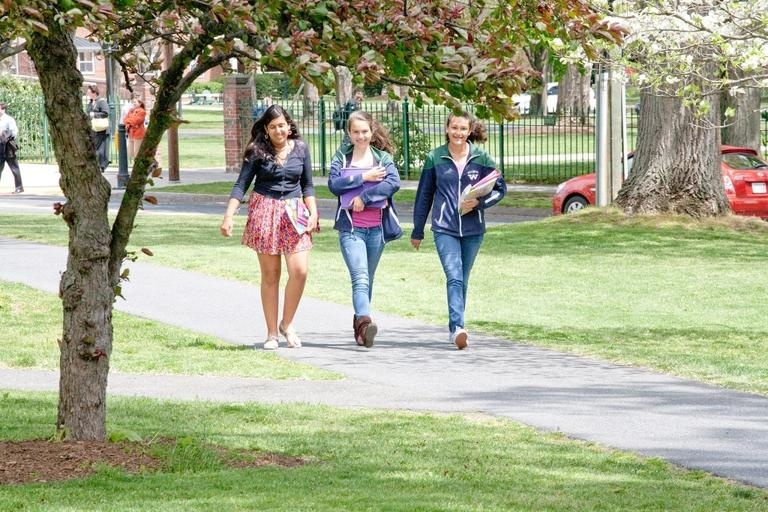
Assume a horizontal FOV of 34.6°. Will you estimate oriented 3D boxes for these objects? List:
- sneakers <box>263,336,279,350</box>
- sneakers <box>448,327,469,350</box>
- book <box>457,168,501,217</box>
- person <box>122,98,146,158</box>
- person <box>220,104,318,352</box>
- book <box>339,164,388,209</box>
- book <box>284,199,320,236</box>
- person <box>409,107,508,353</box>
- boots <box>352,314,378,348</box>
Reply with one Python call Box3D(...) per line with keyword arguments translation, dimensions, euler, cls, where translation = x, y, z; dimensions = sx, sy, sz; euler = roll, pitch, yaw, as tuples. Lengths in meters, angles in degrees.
Box3D(translation=(-1.105, 0.845, 12.060), dimensions=(0.130, 0.110, 0.280), euler=(0, -4, -3), cls="sneakers")
Box3D(translation=(0.749, 0.812, 12.072), dimensions=(0.112, 0.116, 0.274), euler=(-5, -34, -7), cls="sneakers")
Box3D(translation=(0.949, -0.629, 12.040), dimensions=(0.417, 0.445, 0.275), euler=(0, 4, -7), cls="book")
Box3D(translation=(-6.093, -3.188, 29.954), dimensions=(0.509, 1.433, 1.532), euler=(0, 4, -12), cls="person")
Box3D(translation=(-1.076, -0.269, 11.947), dimensions=(0.860, 2.347, 0.493), euler=(0, 4, -9), cls="person")
Box3D(translation=(-0.208, -0.676, 12.151), dimensions=(0.460, 0.421, 0.211), euler=(1, 4, 6), cls="book")
Box3D(translation=(-0.820, -0.408, 11.885), dimensions=(0.154, 0.335, 0.350), euler=(-27, -3, 30), cls="book")
Box3D(translation=(0.770, -0.253, 12.234), dimensions=(0.744, 2.299, 0.818), euler=(-2, 5, -29), cls="person")
Box3D(translation=(-0.187, 0.722, 12.044), dimensions=(0.150, 0.169, 0.402), euler=(-4, -37, -11), cls="boots")
